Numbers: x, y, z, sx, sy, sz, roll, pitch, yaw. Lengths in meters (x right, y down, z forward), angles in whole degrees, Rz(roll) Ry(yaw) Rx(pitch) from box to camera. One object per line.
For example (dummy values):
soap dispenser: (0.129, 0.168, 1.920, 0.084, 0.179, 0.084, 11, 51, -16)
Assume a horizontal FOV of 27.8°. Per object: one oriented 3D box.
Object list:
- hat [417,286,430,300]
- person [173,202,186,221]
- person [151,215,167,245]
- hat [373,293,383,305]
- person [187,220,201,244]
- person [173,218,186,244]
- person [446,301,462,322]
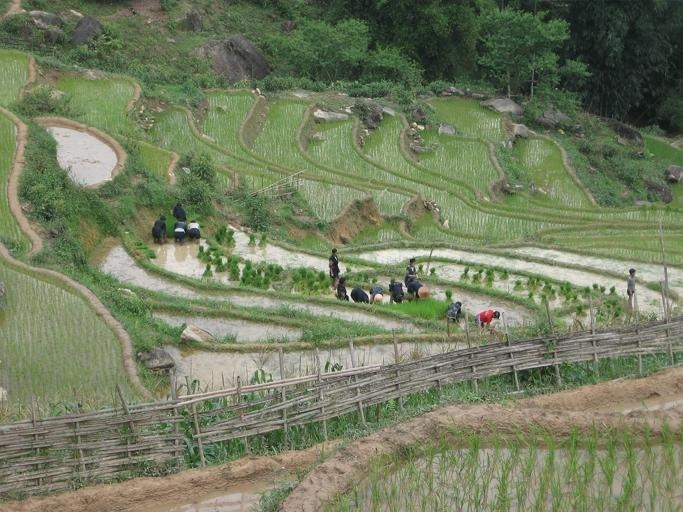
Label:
hat: (2.848, 1.276, 47.424, 0.369, 0.386, 0.276, 0, 7, 6)
person: (-5.863, -1.524, 50.282, 0.410, 0.566, 0.917, -2, 8, -13)
person: (-6.509, -0.851, 49.533, 0.394, 1.089, 0.994, 8, 18, 2)
hat: (1.324, 1.489, 47.474, 0.344, 0.312, 0.246, -2, 7, -10)
person: (-5.295, -0.821, 49.780, 0.270, 0.385, 0.899, -4, 32, -10)
person: (-5.803, -0.821, 49.727, 0.578, 0.568, 1.491, 2, 35, -9)
person: (3.834, 1.884, 46.404, 0.256, 0.502, 0.887, 5, 23, 16)
